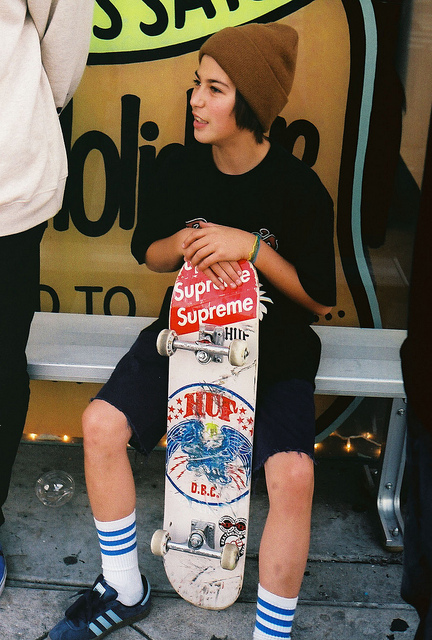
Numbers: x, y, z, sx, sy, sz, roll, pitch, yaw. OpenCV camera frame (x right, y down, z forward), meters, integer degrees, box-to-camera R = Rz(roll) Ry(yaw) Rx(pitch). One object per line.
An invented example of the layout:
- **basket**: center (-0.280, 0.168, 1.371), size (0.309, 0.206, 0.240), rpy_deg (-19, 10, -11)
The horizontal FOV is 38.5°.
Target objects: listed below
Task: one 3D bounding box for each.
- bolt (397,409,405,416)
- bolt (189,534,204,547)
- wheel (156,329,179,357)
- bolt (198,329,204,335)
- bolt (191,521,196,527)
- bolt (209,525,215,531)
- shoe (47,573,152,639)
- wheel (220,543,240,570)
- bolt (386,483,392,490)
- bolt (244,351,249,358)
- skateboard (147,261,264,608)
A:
- **bolt**: center (0.683, 0.343, 2.286), size (0.022, 0.021, 0.007), rpy_deg (-10, 12, 31)
- **bolt**: center (-0.058, 0.630, 1.769), size (0.028, 0.031, 0.029), rpy_deg (1, 8, 1)
- **wheel**: center (-0.137, 0.067, 1.770), size (0.039, 0.083, 0.079), rpy_deg (0, -7, 27)
- **bolt**: center (-0.043, 0.035, 1.803), size (0.010, 0.006, 0.038), rpy_deg (-3, 12, -16)
- **bolt**: center (-0.068, 0.612, 1.846), size (0.016, 0.012, 0.007), rpy_deg (18, 36, 25)
- **bolt**: center (-0.013, 0.619, 1.838), size (0.015, 0.015, 0.009), rpy_deg (-4, 32, -7)
- **shoe**: center (-0.348, 0.874, 1.869), size (0.284, 0.127, 0.101), rpy_deg (-19, 29, -37)
- **wheel**: center (0.039, 0.669, 1.742), size (0.049, 0.082, 0.079), rpy_deg (3, 14, 10)
- **bolt**: center (0.669, 0.647, 2.399), size (0.018, 0.025, 0.006), rpy_deg (1, 13, 9)
- **bolt**: center (0.084, 0.098, 1.736), size (0.007, 0.004, 0.027), rpy_deg (1, 26, -4)
- **skateboard**: center (-0.019, 0.339, 1.870), size (0.289, 1.246, 0.172), rpy_deg (2, 14, 0)
